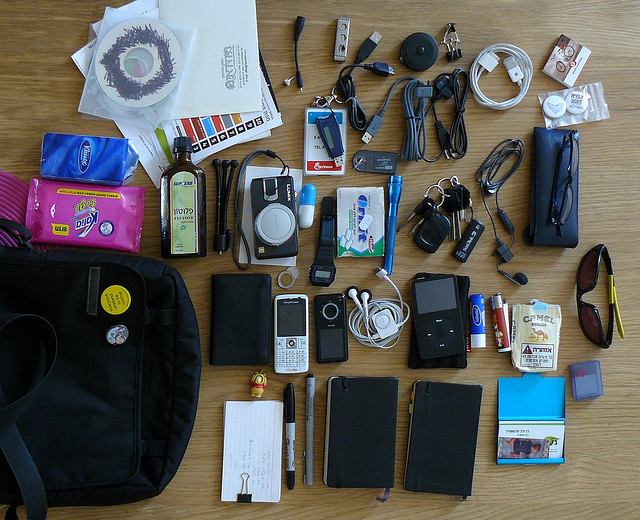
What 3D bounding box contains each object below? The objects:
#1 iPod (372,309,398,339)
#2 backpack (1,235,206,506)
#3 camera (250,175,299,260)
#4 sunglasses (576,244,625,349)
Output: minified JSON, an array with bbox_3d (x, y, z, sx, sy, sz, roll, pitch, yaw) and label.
[{"bbox_3d":[0.180,0.181,1.845,0.073,0.022,0.077,-22,92,-8],"label":"iPod"},{"bbox_3d":[-0.579,0.302,1.711,0.493,0.363,0.598,0,62,4],"label":"backpack"},{"bbox_3d":[-0.129,-0.114,1.854,0.122,0.072,0.229,-3,91,-3],"label":"camera"},{"bbox_3d":[0.802,0.111,1.913,0.093,0.080,0.315,-1,88,-29],"label":"sunglasses"}]
